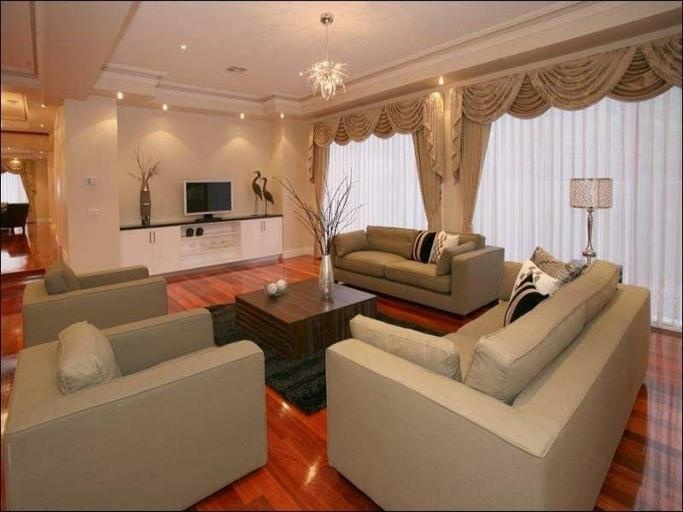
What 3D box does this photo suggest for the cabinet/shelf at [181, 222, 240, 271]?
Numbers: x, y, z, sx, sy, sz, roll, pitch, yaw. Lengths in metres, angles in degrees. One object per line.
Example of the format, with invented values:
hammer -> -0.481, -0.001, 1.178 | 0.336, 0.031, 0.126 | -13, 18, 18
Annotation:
cabinet/shelf -> -2.128, -0.178, 7.429 | 1.051, 0.650, 0.375 | -11, 11, -42

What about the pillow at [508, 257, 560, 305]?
pillow -> 1.319, 0.181, 3.192 | 0.084, 0.291, 0.288 | 24, 3, -21

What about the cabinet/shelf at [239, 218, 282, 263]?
cabinet/shelf -> -1.363, -0.313, 7.906 | 0.168, 0.650, 0.865 | 4, 11, 39

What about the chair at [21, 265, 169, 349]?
chair -> -2.152, 0.383, 4.002 | 0.857, 0.790, 0.805 | -7, 12, -39

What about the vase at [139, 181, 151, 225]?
vase -> -2.885, -0.757, 6.825 | 0.186, 0.643, 0.547 | -6, 9, -22

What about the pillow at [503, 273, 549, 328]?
pillow -> 1.219, 0.300, 3.063 | 0.131, 0.272, 0.316 | 33, 10, 0

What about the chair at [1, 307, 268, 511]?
chair -> -1.177, 0.922, 2.653 | 1.111, 0.783, 1.061 | -6, 10, -42

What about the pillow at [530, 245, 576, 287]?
pillow -> 1.591, 0.083, 3.507 | 0.276, 0.094, 0.291 | -26, 25, -4

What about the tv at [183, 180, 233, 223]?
tv -> -2.173, -0.886, 7.441 | 0.653, 0.508, 0.165 | -5, 11, -43

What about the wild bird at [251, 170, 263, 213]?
wild bird -> -1.484, -1.120, 8.151 | 0.189, 0.764, 0.318 | -4, 8, -10

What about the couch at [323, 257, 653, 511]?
couch -> 0.796, 0.153, 2.488 | 1.088, 0.994, 2.052 | 10, 16, 40

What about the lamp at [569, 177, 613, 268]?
lamp -> 2.424, -0.336, 4.556 | 0.356, 0.863, 0.597 | 1, 9, 27
